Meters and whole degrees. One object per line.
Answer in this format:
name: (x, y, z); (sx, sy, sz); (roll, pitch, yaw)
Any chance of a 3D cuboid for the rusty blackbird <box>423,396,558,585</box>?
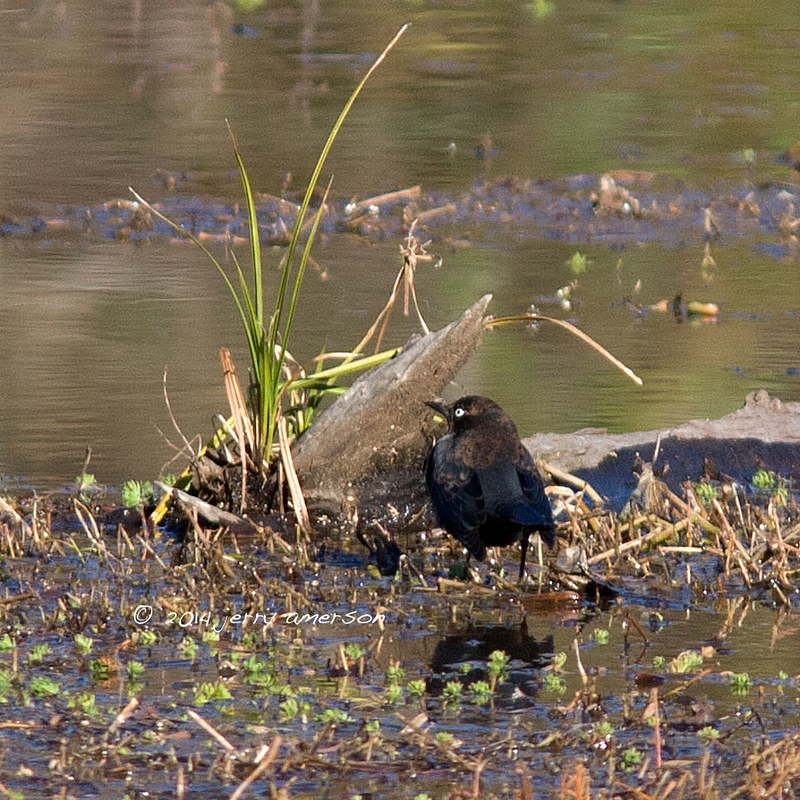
rusty blackbird: (0.330, 0.358, 5.779); (0.404, 0.526, 0.813); (-2, 24, -13)
